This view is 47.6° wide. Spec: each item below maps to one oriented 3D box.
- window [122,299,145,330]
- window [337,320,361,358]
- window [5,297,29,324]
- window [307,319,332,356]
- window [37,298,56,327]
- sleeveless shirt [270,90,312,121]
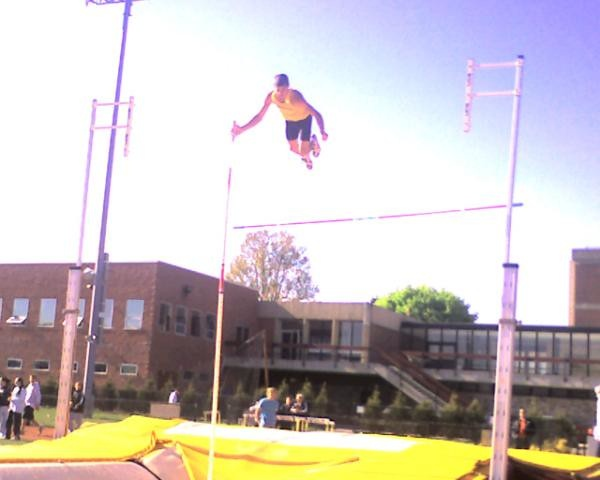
[{"bbox_3d":[-8.463,3.788,34.370,1.162,2.050,0.198,-2,-12,13],"label":"window"},{"bbox_3d":[2.762,5.600,38.293,1.306,2.132,0.081,-6,-14,34],"label":"window"},{"bbox_3d":[-15.290,3.790,36.447,1.033,1.660,0.497,2,-14,16],"label":"window"},{"bbox_3d":[1.086,5.620,39.250,1.198,1.786,0.109,-7,-13,36],"label":"window"},{"bbox_3d":[-13.392,3.820,35.673,1.057,2.336,0.160,-4,-17,13],"label":"window"},{"bbox_3d":[-0.133,-2.474,12.401,0.654,0.297,0.920,-3,-12,27],"label":"sleeveless shirt"}]
